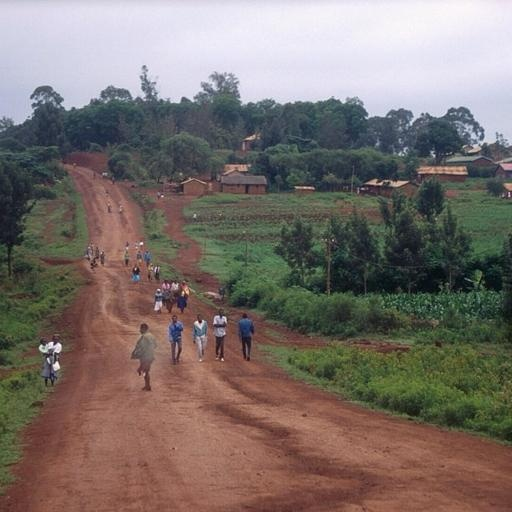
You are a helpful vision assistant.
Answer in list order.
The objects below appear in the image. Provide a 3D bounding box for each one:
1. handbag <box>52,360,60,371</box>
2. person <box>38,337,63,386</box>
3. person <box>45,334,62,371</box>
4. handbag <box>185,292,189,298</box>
[{"bbox_3d":[-6.905,3.859,29.564,0.237,0.174,0.352,-1,18,-3],"label":"handbag"},{"bbox_3d":[-7.138,3.634,29.753,0.673,1.448,2.407,-8,0,-17],"label":"person"},{"bbox_3d":[-6.944,3.375,29.419,0.407,1.515,1.239,-1,6,-14],"label":"person"},{"bbox_3d":[-3.533,2.022,44.194,0.096,0.206,0.195,1,6,4],"label":"handbag"}]
